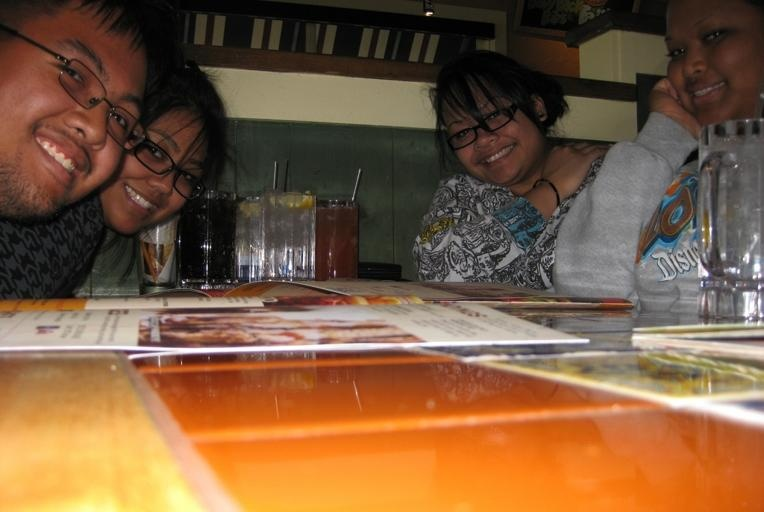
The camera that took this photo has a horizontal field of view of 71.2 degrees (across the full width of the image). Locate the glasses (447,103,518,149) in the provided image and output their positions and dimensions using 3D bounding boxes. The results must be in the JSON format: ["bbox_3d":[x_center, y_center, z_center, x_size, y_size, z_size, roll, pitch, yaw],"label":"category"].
[{"bbox_3d":[0.418,-0.422,1.859,0.254,0.057,0.231,0,-15,-42],"label":"glasses"}]

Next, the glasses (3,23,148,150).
[{"bbox_3d":[-0.626,-0.322,1.089,0.202,0.057,0.189,26,-12,33],"label":"glasses"}]
